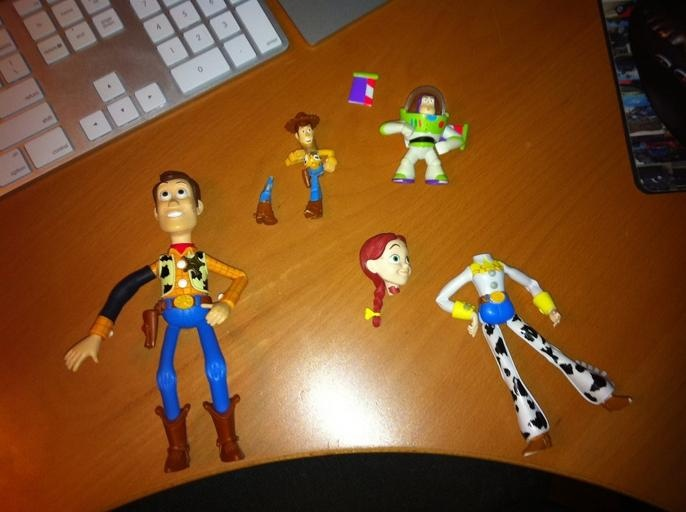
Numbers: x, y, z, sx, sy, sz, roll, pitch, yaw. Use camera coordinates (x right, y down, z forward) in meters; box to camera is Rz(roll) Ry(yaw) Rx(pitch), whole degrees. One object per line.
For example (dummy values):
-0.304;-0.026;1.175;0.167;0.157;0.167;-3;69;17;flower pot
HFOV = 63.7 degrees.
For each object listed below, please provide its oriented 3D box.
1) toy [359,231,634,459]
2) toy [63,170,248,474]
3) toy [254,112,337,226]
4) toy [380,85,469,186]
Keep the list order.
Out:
0.399;0.155;1.361;0.452;0.702;0.169;-23;-9;2;toy
-0.457;0.160;1.418;0.425;0.688;0.312;10;-34;-27;toy
-0.112;-0.254;1.504;0.186;0.360;0.119;5;-35;9;toy
0.235;-0.324;1.558;0.252;0.306;0.113;0;-42;23;toy
